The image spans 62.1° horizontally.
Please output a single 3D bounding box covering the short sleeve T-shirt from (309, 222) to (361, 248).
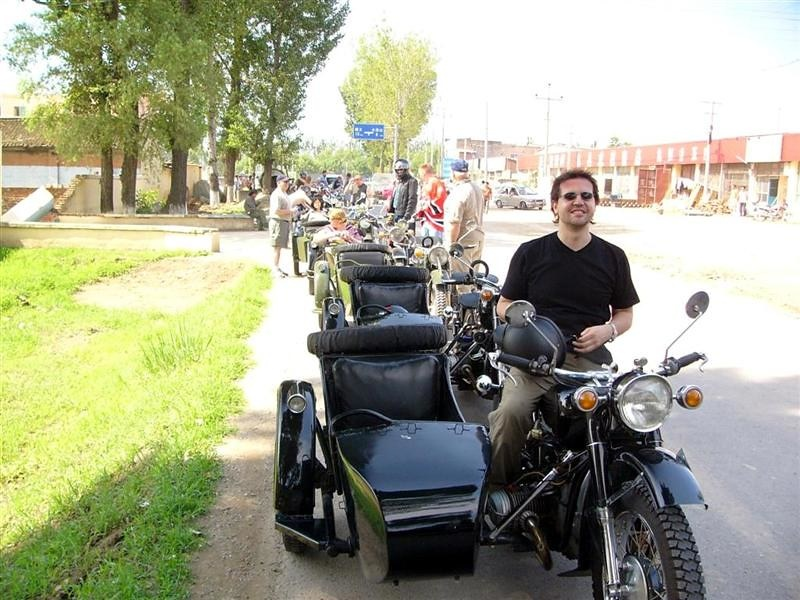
[{"bbox_3d":[-1.128,-1.176,11.629,0.691,0.412,0.942,-1,9,-6],"label":"short sleeve T-shirt"}]

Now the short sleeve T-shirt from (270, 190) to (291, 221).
[{"bbox_3d":[-2.766,-2.161,15.419,0.492,0.840,0.943,-2,18,-3],"label":"short sleeve T-shirt"}]

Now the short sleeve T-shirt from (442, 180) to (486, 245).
[{"bbox_3d":[1.094,-1.434,10.583,0.491,1.008,0.857,10,15,38],"label":"short sleeve T-shirt"}]

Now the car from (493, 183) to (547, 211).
[{"bbox_3d":[8.446,-7.480,47.014,1.587,1.303,2.982,-6,13,-29],"label":"car"}]

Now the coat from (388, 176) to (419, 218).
[{"bbox_3d":[0.050,-2.386,15.018,0.811,0.939,0.460,14,15,42],"label":"coat"}]

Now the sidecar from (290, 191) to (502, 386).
[{"bbox_3d":[0.101,-0.151,7.454,1.453,1.473,2.272,0,3,-12],"label":"sidecar"}]

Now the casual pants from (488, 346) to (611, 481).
[{"bbox_3d":[0.850,0.769,4.326,0.553,0.660,0.913,8,-2,-15],"label":"casual pants"}]

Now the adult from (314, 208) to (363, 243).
[{"bbox_3d":[-1.138,-1.299,11.740,0.546,0.468,0.793,8,3,-6],"label":"adult"}]

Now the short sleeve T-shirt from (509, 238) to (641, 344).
[{"bbox_3d":[1.184,-0.091,4.625,0.885,0.803,0.457,2,-2,13],"label":"short sleeve T-shirt"}]
